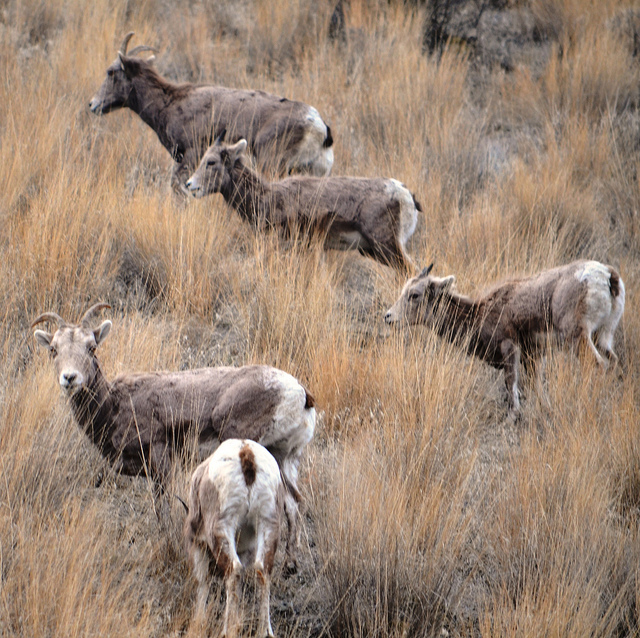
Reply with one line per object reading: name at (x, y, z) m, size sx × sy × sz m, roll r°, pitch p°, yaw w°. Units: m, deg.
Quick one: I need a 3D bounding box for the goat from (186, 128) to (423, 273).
goat at (-0.054, -1.129, 9.426) m, size 2.021 × 1.037 × 0.582 m, roll 7°, pitch 30°, yaw 13°

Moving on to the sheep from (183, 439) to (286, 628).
sheep at (-0.523, 1.446, 6.244) m, size 0.629 × 1.166 × 0.832 m, roll -4°, pitch 30°, yaw -4°
